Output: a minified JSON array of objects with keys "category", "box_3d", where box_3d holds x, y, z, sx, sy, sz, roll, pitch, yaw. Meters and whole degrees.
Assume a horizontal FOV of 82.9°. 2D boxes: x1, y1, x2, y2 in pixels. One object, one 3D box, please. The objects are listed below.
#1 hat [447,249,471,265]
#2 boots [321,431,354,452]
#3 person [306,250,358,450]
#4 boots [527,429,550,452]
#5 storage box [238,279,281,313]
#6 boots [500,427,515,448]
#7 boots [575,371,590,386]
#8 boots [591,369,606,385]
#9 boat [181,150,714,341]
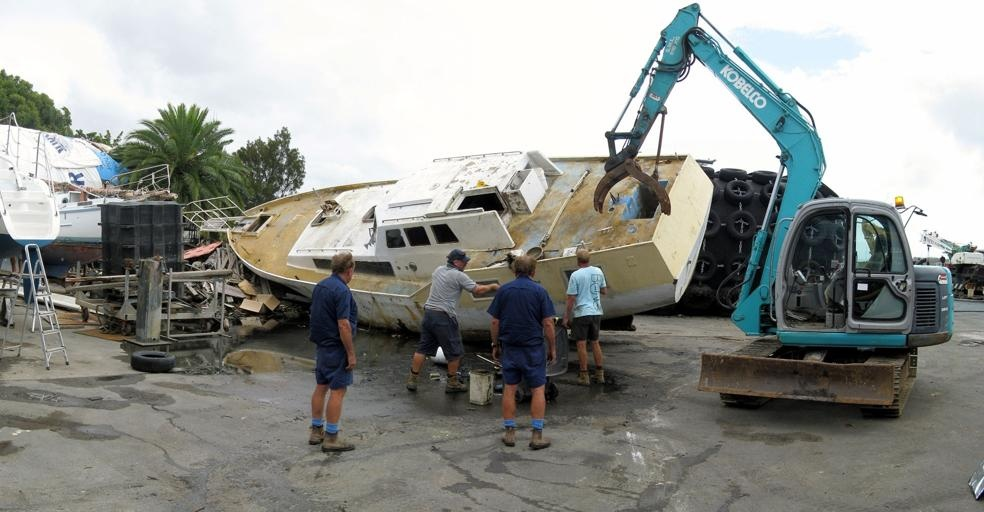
[{"category":"hat","box_3d":[-0.626,0.011,10.518,0.435,0.209,0.247,-10,25,-15]},{"category":"boots","box_3d":[-2.421,2.897,8.742,0.637,0.300,0.218,-1,8,-10]},{"category":"person","box_3d":[-2.558,1.479,8.748,0.747,2.982,1.062,-1,13,-13]},{"category":"boots","box_3d":[0.768,2.899,8.870,0.385,0.293,0.248,0,11,-6]},{"category":"storage box","box_3d":[-7.690,1.407,17.849,1.130,0.983,0.397,17,-27,26]},{"category":"boots","box_3d":[0.256,2.919,9.007,0.162,0.219,0.365,1,9,-4]},{"category":"boots","box_3d":[1.842,2.531,11.553,0.170,0.236,0.377,-8,22,-1]},{"category":"boots","box_3d":[2.227,2.499,11.662,0.172,0.290,0.434,-8,28,-8]},{"category":"boat","box_3d":[-2.234,0.086,17.155,15.965,5.121,3.731,2,-33,27]}]
